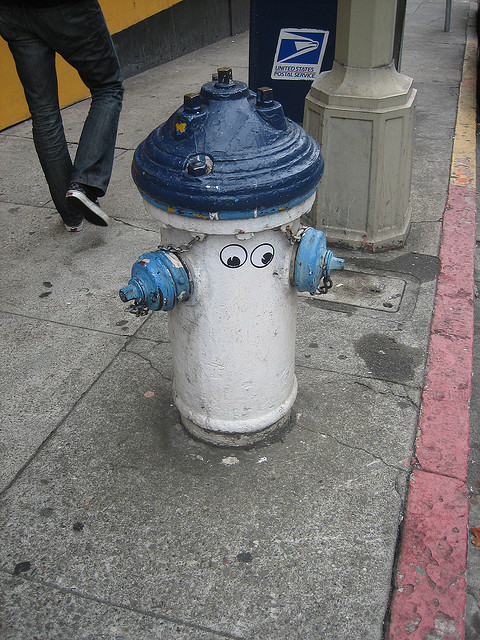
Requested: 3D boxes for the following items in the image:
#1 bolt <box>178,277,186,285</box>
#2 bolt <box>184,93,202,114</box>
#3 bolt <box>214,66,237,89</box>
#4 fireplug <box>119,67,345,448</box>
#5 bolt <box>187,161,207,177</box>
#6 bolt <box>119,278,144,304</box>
[{"bbox_3d":[-0.202,-0.138,2.200,0.022,0.025,0.022,13,43,13],"label":"bolt"},{"bbox_3d":[-0.158,-0.729,2.111,0.068,0.063,0.069,-3,38,-3],"label":"bolt"},{"bbox_3d":[-0.048,-0.825,2.179,0.079,0.059,0.080,10,57,10],"label":"bolt"},{"bbox_3d":[0.000,-0.196,2.496,0.724,1.384,0.695,7,33,13],"label":"fireplug"},{"bbox_3d":[-0.131,-0.478,1.986,0.051,0.050,0.052,19,70,6],"label":"bolt"},{"bbox_3d":[-0.362,-0.091,2.142,0.076,0.079,0.079,-22,12,-28],"label":"bolt"}]
